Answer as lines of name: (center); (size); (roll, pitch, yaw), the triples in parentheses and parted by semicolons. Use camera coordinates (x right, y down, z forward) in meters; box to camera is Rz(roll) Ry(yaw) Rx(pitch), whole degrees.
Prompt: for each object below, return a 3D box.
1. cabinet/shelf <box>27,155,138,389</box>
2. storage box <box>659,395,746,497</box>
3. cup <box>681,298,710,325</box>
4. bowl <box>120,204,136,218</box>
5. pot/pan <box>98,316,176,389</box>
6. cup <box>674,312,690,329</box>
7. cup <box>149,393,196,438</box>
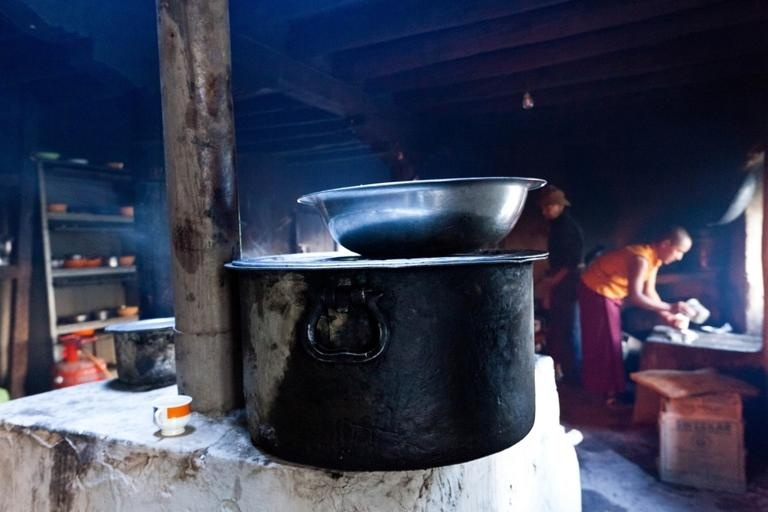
cabinet/shelf: (-3.200, 0.250, 7.868); (1.173, 2.412, 0.596); (-5, 6, -44)
storage box: (3.153, 1.807, 6.955); (0.772, 0.767, 0.758); (-2, -10, 33)
cup: (3.294, 0.573, 7.504); (0.227, 0.270, 0.110); (-2, -3, 24)
bowl: (-2.874, -0.505, 8.039); (0.194, 0.108, 0.197); (-1, 7, 0)
pot/pan: (-1.890, 0.761, 5.633); (0.620, 0.461, 0.613); (-2, -3, -41)
cup: (3.127, 0.676, 7.569); (0.152, 0.173, 0.150); (-2, 2, 0)
cup: (-1.505, 1.135, 5.024); (0.279, 0.226, 0.317); (-2, 3, 16)
